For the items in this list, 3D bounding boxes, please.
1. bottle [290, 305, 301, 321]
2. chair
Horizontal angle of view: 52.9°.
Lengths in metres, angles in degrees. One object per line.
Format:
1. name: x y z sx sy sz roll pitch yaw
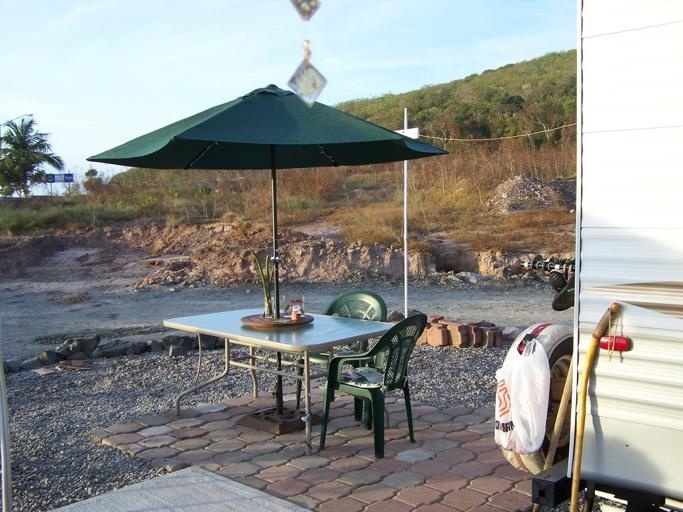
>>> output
1. bottle: -0.371 0.491 5.750 0.102 0.115 0.104 -1 -3 7
2. chair: 0.209 0.900 5.790 0.990 1.410 1.038 3 5 44
